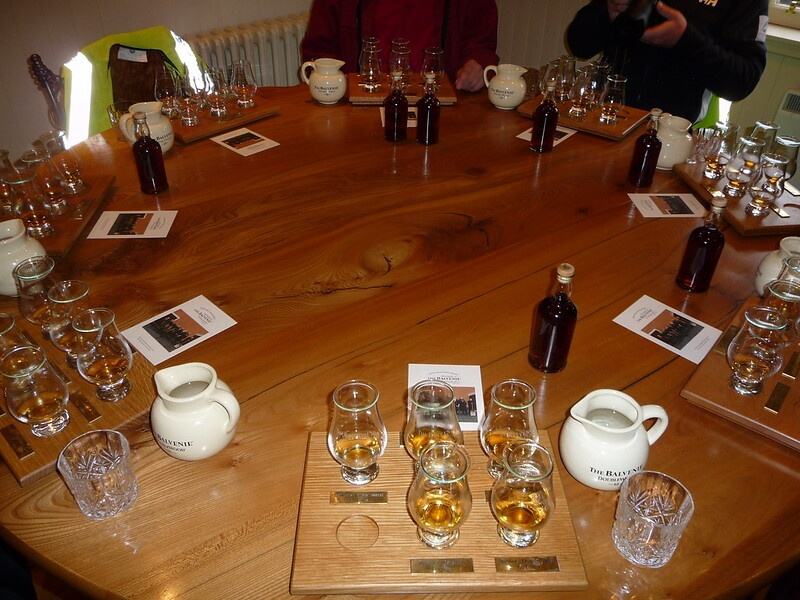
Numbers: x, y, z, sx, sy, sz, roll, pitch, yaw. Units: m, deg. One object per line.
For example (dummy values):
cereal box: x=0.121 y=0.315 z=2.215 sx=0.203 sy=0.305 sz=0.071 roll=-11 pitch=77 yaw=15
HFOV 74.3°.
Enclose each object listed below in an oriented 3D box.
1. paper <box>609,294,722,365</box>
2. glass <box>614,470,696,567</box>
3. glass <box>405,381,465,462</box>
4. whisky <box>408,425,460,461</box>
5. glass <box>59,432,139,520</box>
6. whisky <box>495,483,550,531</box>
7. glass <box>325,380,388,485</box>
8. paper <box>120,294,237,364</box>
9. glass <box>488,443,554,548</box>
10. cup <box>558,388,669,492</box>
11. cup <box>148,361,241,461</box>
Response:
paper: x=0.819 y=0.089 z=1.657 sx=0.262 sy=0.052 sz=0.196 roll=28 pitch=43 yaw=36
glass: x=0.524 y=0.468 z=1.136 sx=0.141 sy=0.139 sz=0.165 roll=24 pitch=41 yaw=31
glass: x=0.071 y=0.302 z=1.261 sx=0.145 sy=0.180 sz=0.136 roll=-5 pitch=11 yaw=-9
whisky: x=0.069 y=0.328 z=1.207 sx=0.100 sy=0.067 sz=0.088 roll=-7 pitch=51 yaw=9
glass: x=-0.677 y=0.388 z=1.197 sx=0.135 sy=0.139 sz=0.170 roll=-21 pitch=39 yaw=-27
whisky: x=0.247 y=0.438 z=1.118 sx=0.114 sy=0.080 sz=0.106 roll=1 pitch=47 yaw=2
glass: x=-0.107 y=0.319 z=1.227 sx=0.133 sy=0.204 sz=0.133 roll=26 pitch=45 yaw=28
paper: x=-0.671 y=0.091 z=1.606 sx=0.269 sy=0.047 sz=0.197 roll=-28 pitch=42 yaw=-36
glass: x=0.253 y=0.427 z=1.131 sx=0.132 sy=0.177 sz=0.122 roll=7 pitch=40 yaw=15
cup: x=0.511 y=0.342 z=1.283 sx=0.252 sy=0.232 sz=0.189 roll=-8 pitch=33 yaw=-5
cup: x=-0.507 y=0.276 z=1.291 sx=0.185 sy=0.192 sz=0.163 roll=-19 pitch=39 yaw=-25
